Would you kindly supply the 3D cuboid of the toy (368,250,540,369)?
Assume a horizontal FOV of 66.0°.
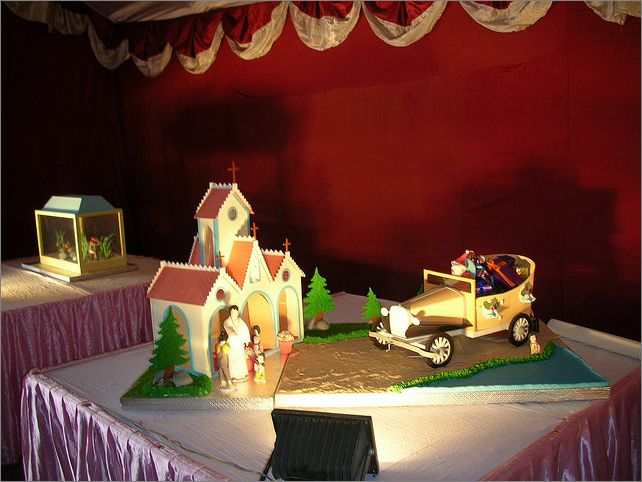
[{"bbox_3d":[0.945,0.346,3.285,1.047,0.565,0.588,-6,7,-33],"label":"toy"}]
